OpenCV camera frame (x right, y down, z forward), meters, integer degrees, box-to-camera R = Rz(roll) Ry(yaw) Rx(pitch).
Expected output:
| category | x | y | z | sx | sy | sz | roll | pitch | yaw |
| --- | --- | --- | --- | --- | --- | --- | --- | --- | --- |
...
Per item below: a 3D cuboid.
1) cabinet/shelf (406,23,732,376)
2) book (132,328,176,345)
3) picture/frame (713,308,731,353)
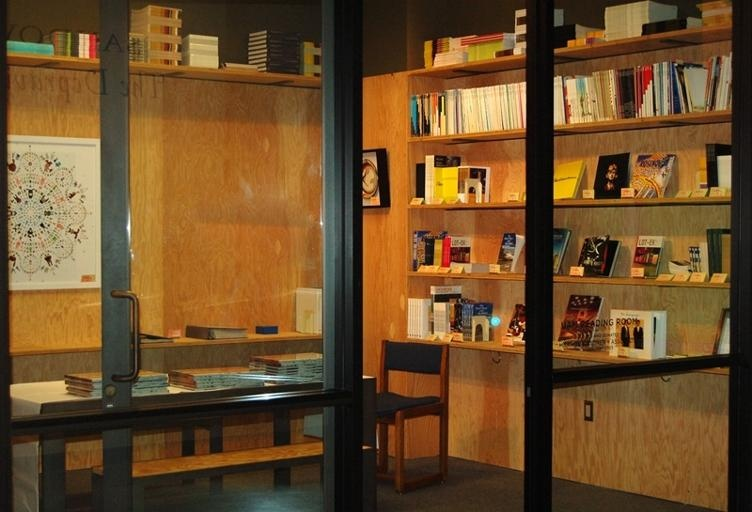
| category | x | y | z | sx | sy | sz | roll | pitch | yaw |
| --- | --- | --- | --- | --- | --- | --- | --- | --- | --- |
| cabinet/shelf | 1.072 | -0.527 | 4.516 | 1.615 | 1.873 | 2.973 | 0 | 4 | 0 |
| book | -0.864 | 0.319 | 2.719 | 0.132 | 0.051 | 0.015 | -2 | 4 | -29 |
| picture/frame | 1.799 | 0.382 | 3.585 | 0.016 | 0.225 | 0.198 | 4 | -10 | 40 |
